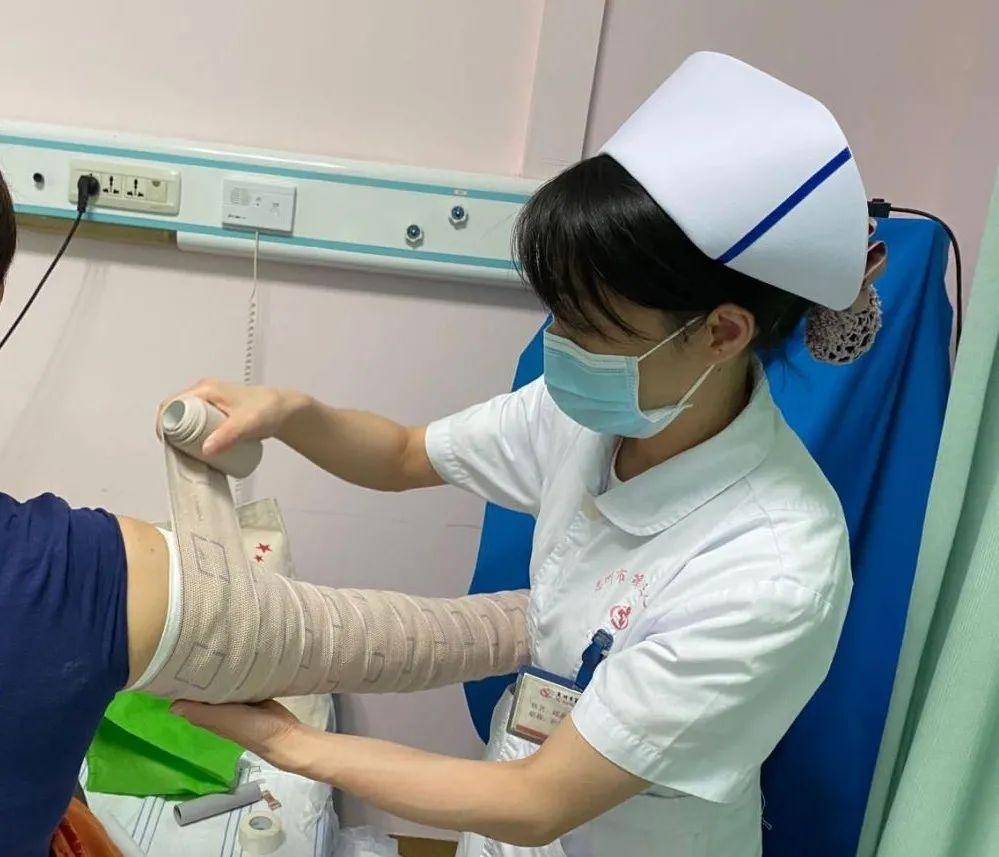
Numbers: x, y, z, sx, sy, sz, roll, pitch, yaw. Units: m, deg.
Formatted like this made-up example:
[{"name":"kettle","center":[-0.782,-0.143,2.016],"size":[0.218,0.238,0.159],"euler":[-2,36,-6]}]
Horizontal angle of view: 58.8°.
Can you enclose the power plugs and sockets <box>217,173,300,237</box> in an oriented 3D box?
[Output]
[{"name":"power plugs and sockets","center":[-0.510,-0.460,1.856],"size":[0.147,0.100,0.109],"euler":[6,3,-5]}]

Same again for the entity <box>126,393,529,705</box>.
[{"name":"entity","center":[-0.173,0.217,1.181],"size":[0.539,0.184,0.346],"euler":[21,54,-32]}]

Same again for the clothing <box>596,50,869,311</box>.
[{"name":"clothing","center":[0.290,-0.258,1.122],"size":[0.255,0.089,0.333],"euler":[19,62,-17]}]

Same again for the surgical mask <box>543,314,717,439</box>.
[{"name":"surgical mask","center":[0.171,-0.053,1.180],"size":[0.173,0.111,0.148],"euler":[-32,31,1]}]

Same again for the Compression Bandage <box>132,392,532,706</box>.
[{"name":"Compression Bandage","center":[-0.180,0.218,1.202],"size":[0.537,0.185,0.350],"euler":[22,52,-34]}]

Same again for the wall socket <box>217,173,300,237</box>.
[{"name":"wall socket","center":[-0.510,-0.460,1.856],"size":[0.147,0.100,0.109],"euler":[6,3,-5]}]

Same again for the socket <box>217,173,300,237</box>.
[{"name":"socket","center":[-0.509,-0.460,1.856],"size":[0.147,0.100,0.109],"euler":[6,3,-5]}]
